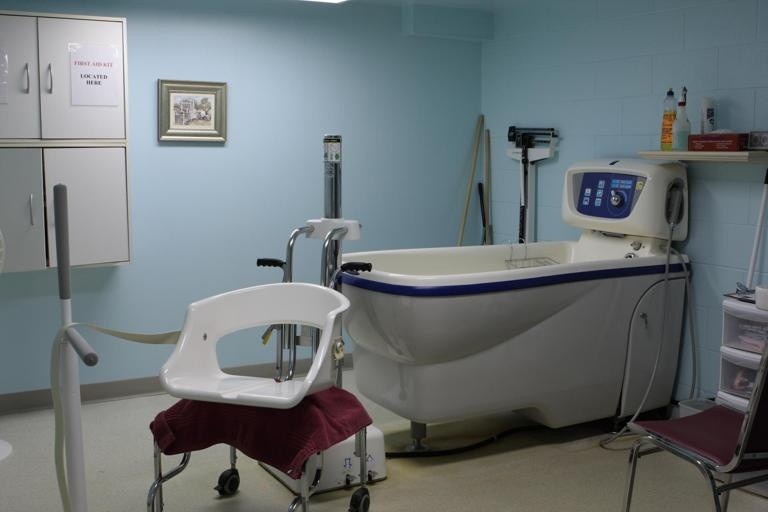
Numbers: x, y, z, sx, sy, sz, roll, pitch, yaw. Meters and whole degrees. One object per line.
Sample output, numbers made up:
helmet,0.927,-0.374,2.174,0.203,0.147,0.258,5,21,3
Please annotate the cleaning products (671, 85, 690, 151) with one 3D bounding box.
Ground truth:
cleaning products,1.765,-0.821,3.289,0.088,0.381,0.233,5,12,27

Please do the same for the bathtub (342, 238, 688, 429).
bathtub,0.736,0.361,3.686,2.123,1.082,1.471,-2,16,-20

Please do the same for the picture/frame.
picture/frame,-1.356,-1.018,3.877,0.458,0.404,0.036,-2,6,-26

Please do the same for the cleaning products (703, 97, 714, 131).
cleaning products,1.876,-0.818,3.212,0.101,0.190,0.054,-7,13,-32
